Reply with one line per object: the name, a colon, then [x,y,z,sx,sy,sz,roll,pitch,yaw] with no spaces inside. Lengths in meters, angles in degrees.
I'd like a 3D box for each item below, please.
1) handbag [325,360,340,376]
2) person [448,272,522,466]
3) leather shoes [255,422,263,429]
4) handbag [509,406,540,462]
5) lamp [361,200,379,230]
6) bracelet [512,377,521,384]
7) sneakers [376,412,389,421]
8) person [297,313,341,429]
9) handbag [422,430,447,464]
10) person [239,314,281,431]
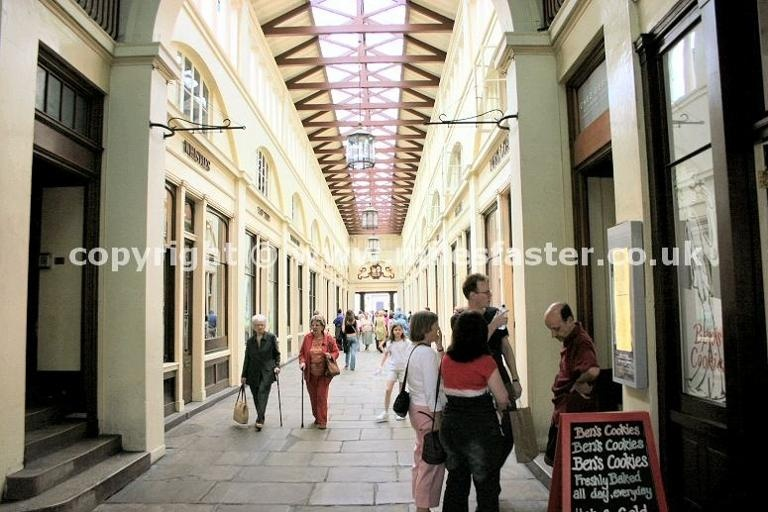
handbag: [-0.787,1.806,9.508,0.225,0.277,0.245,-1,-2,34]
person: [1.178,1.412,6.399,0.667,2.383,0.641,-6,0,6]
leather shoes: [-1.999,2.723,9.361,0.056,0.084,0.190,0,-20,-4]
handbag: [1.360,1.748,5.751,0.260,0.529,0.181,0,-2,13]
lamp: [-0.685,-1.771,27.682,0.639,0.925,0.743,0,-2,6]
bracelet: [1.412,1.331,6.303,0.062,0.044,0.140,0,-1,5]
sneakers: [-0.031,2.693,9.909,0.196,0.137,0.304,1,-1,3]
person: [-1.082,1.884,9.663,0.638,1.791,0.650,1,-2,-8]
handbag: [0.500,1.876,5.745,0.173,0.371,0.349,-2,-9,22]
person: [-2.019,1.867,9.568,0.603,1.798,0.669,1,-2,-14]
